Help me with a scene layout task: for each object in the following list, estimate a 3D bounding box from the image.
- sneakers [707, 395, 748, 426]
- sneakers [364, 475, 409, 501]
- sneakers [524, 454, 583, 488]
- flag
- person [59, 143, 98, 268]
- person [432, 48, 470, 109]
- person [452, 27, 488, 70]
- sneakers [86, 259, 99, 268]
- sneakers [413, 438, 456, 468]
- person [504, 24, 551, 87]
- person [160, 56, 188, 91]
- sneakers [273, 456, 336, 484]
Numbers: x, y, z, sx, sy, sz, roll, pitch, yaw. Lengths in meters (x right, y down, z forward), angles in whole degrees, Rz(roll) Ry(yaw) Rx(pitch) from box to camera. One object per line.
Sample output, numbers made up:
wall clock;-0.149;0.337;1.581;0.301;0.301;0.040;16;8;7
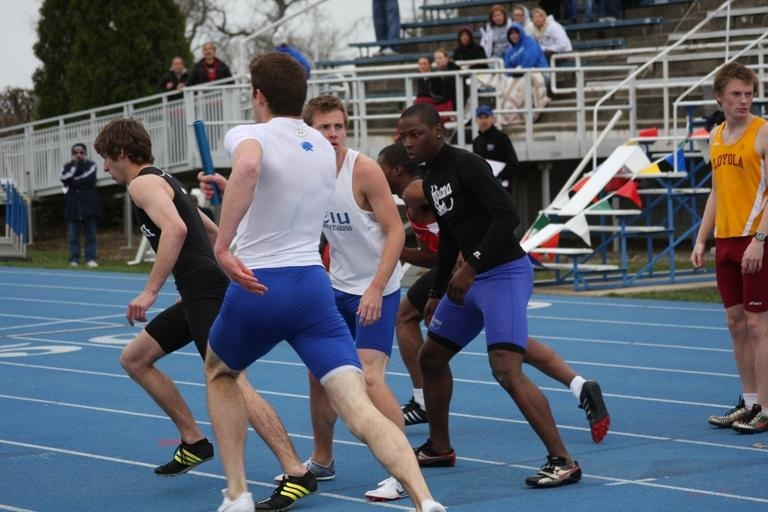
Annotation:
sneakers;3.222;1.459;9.098;0.446;0.272;0.169;-2;-5;17
sneakers;0.029;1.812;7.722;0.428;0.175;0.159;0;0;1
sneakers;1.370;1.712;7.876;0.519;0.210;0.191;-1;-3;-21
flag;3.468;-1.012;16.951;3.235;1.717;1.701;-27;8;-24
person;-6.199;-1.020;20.294;0.686;2.575;1.204;-4;10;-17
person;1.205;-3.335;18.645;0.874;1.080;0.712;-11;18;-12
person;1.648;-3.965;19.214;0.784;0.880;0.576;6;13;24
sneakers;-6.027;0.169;20.522;0.140;0.126;0.307;-3;-3;-37
sneakers;0.426;1.675;8.384;0.453;0.196;0.155;2;1;3
person;2.720;-3.914;19.268;0.930;1.090;0.876;-7;-3;-43
person;-4.454;-3.902;21.201;0.550;0.729;1.438;-4;10;-19
sneakers;-0.618;1.752;8.083;0.565;0.210;0.192;1;-2;-16
